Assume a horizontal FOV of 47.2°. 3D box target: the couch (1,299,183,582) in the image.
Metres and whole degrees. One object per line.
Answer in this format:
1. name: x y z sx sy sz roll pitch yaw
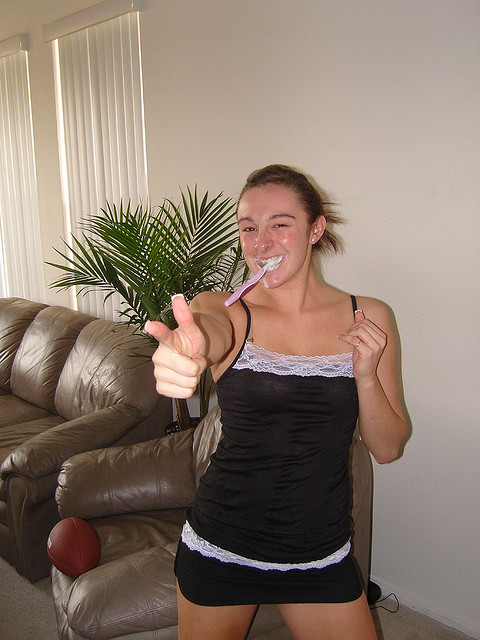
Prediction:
1. couch: -0.655 0.545 2.435 0.670 0.625 1.266 -6 10 -39

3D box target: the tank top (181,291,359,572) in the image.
1. tank top: 0.076 0.234 1.199 0.322 0.519 0.396 -4 20 -15

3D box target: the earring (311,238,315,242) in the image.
1. earring: 0.175 -0.195 1.337 0.002 0.008 0.008 -15 -17 -41

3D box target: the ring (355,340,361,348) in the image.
1. ring: 0.243 0.049 1.135 0.004 0.014 0.004 26 -5 25

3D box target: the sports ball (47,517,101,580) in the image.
1. sports ball: -0.579 0.793 1.907 0.176 0.152 0.193 2 7 0

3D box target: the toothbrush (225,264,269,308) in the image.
1. toothbrush: 0.039 -0.095 1.250 0.040 0.034 0.295 44 27 1
